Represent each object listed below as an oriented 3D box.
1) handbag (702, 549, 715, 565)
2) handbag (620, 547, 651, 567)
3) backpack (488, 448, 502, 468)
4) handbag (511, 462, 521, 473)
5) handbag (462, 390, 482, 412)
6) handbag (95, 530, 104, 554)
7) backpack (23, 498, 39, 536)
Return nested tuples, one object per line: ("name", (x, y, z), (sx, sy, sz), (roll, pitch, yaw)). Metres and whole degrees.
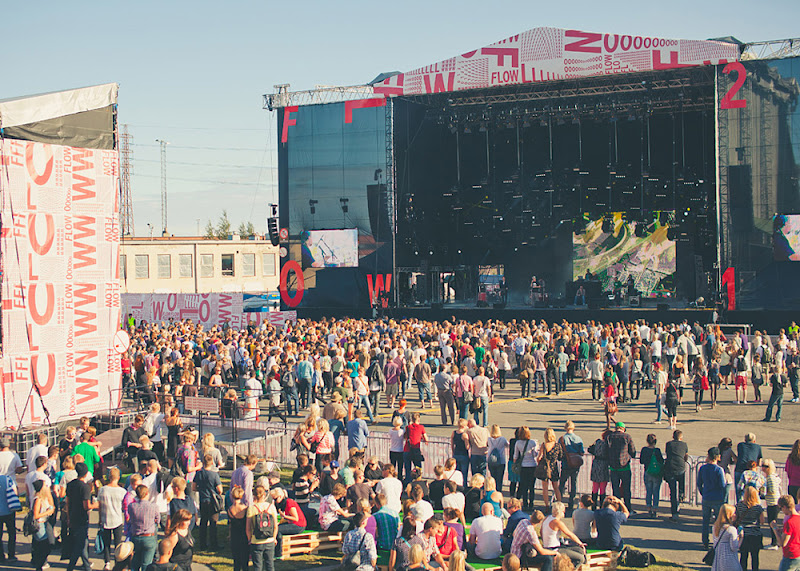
("handbag", (9.329, 8.204, 60.329), (0.141, 0.479, 0.349), (22, -10, -34))
("handbag", (7.167, 8.253, 60.685), (0.698, 0.309, 0.539), (10, 16, -9))
("backpack", (3.010, 5.413, 63.710), (0.512, 0.753, 0.383), (1, -7, -12))
("handbag", (3.632, 5.734, 63.143), (0.284, 0.245, 0.053), (-2, 1, 27))
("handbag", (2.535, 3.922, 68.601), (0.441, 0.551, 0.698), (-1, 1, 38))
("handbag", (-9.073, 7.794, 60.939), (0.256, 0.629, 0.344), (-2, 1, -13))
("backpack", (-11.195, 7.043, 60.695), (0.281, 0.947, 0.657), (-2, 1, -18))
